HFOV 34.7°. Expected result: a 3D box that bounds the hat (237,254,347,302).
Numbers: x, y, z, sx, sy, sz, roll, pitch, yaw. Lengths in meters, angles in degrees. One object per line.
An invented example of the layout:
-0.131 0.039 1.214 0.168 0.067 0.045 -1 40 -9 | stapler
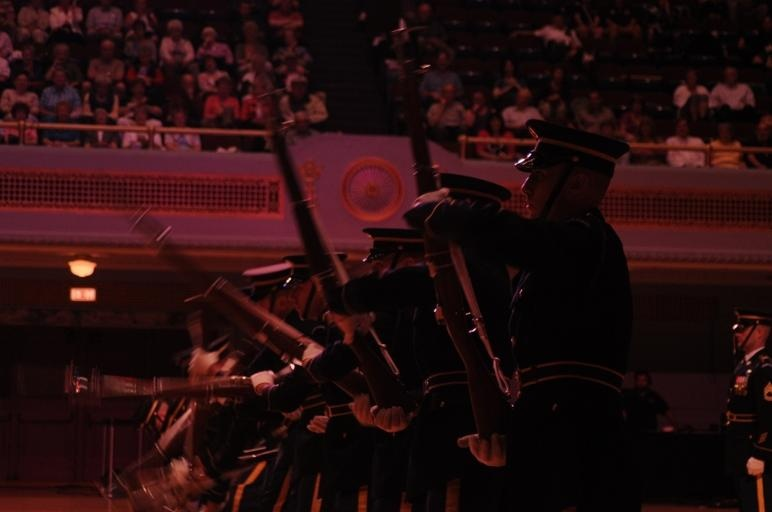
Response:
-1.204 0.227 13.541 0.816 0.167 0.727 -13 -7 -20 | hat

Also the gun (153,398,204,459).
-2.281 1.908 13.771 0.577 0.621 0.162 0 -1 34 | gun

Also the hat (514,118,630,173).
1.746 -0.987 11.382 0.768 0.255 0.597 4 2 4 | hat

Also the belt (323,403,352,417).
-0.496 1.584 12.706 0.375 0.094 0.111 -7 -1 38 | belt

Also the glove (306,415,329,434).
-0.705 1.751 12.826 0.226 0.093 0.073 -6 -17 32 | glove

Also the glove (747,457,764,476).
4.226 2.419 14.187 0.176 0.199 0.173 4 6 31 | glove

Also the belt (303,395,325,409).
-0.750 1.527 12.901 0.271 0.119 0.164 -10 -13 2 | belt
